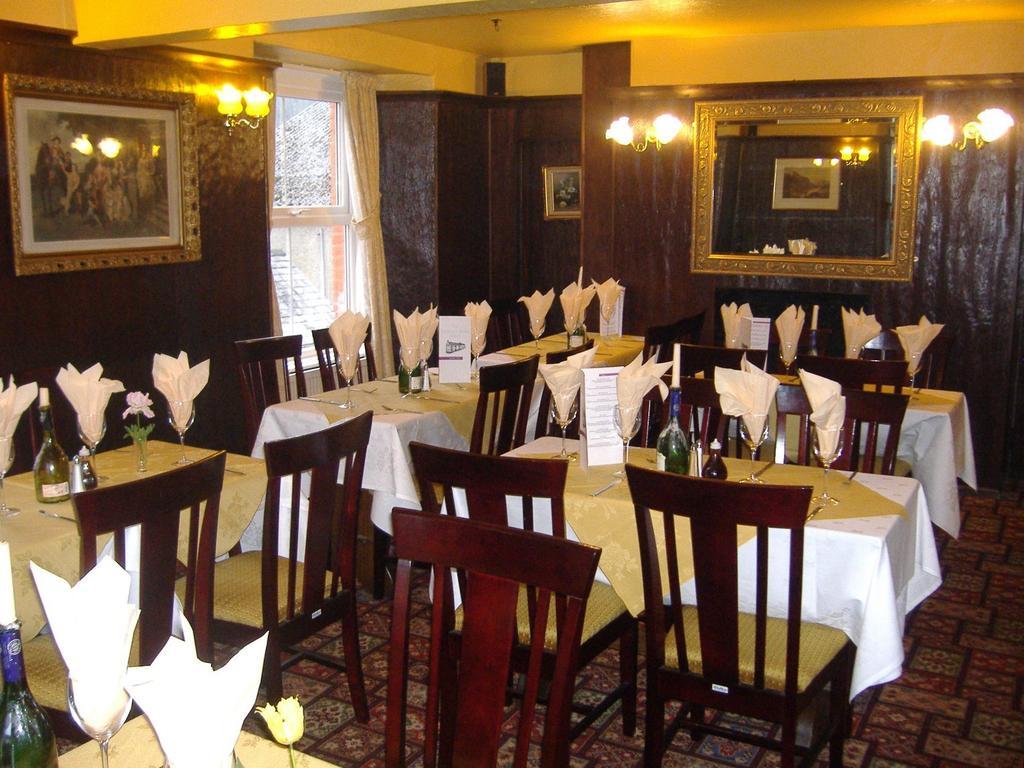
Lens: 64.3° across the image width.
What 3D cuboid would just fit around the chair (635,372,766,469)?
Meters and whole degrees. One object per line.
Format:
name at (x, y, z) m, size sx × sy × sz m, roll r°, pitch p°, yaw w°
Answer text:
chair at (0.774, 0.123, 2.965) m, size 0.235 × 0.322 × 0.208 m, roll 5°, pitch 18°, yaw 16°

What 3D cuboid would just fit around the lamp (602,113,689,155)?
lamp at (1.200, -2.241, 7.280) m, size 0.787 × 0.330 × 0.318 m, roll 4°, pitch 13°, yaw 16°

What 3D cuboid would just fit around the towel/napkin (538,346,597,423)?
towel/napkin at (0.247, 0.012, 3.593) m, size 0.359 × 0.411 × 0.105 m, roll -5°, pitch 24°, yaw -7°

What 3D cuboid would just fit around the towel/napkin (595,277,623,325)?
towel/napkin at (0.786, -0.684, 6.614) m, size 0.199 × 0.344 × 0.293 m, roll 2°, pitch 12°, yaw 9°

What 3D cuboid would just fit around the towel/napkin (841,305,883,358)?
towel/napkin at (2.131, -0.324, 5.080) m, size 0.151 × 0.266 × 0.184 m, roll 0°, pitch 3°, yaw 3°

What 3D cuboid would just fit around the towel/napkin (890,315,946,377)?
towel/napkin at (2.333, -0.184, 4.739) m, size 0.264 × 0.342 × 0.252 m, roll 7°, pitch -1°, yaw 25°

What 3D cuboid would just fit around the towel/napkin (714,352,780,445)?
towel/napkin at (0.862, 0.083, 3.010) m, size 0.265 × 0.300 × 0.206 m, roll -24°, pitch 21°, yaw -34°

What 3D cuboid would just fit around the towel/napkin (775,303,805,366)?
towel/napkin at (1.824, -0.308, 5.346) m, size 0.161 × 0.455 × 0.553 m, roll 4°, pitch 13°, yaw 19°

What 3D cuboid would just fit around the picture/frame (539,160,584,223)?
picture/frame at (0.519, -1.993, 8.326) m, size 0.659 × 0.759 × 0.119 m, roll 1°, pitch 13°, yaw 8°

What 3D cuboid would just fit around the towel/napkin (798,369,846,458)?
towel/napkin at (1.134, 0.163, 2.943) m, size 0.151 × 0.414 × 0.134 m, roll 0°, pitch -2°, yaw 18°

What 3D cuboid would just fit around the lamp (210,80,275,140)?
lamp at (-1.994, -2.077, 6.199) m, size 0.226 × 0.341 × 0.462 m, roll 8°, pitch 14°, yaw 31°

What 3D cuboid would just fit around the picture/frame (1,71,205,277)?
picture/frame at (-2.713, -1.382, 5.321) m, size 0.100 × 1.240 × 1.345 m, roll 6°, pitch 10°, yaw 34°

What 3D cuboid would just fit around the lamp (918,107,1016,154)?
lamp at (3.464, -1.935, 6.195) m, size 0.630 × 0.294 × 0.212 m, roll 6°, pitch 13°, yaw 24°

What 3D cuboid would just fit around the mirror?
mirror at (2.526, -1.656, 6.807) m, size 1.435 × 1.299 × 0.062 m, roll 4°, pitch 7°, yaw 23°

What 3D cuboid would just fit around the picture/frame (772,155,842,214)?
picture/frame at (2.505, -1.684, 6.849) m, size 0.441 × 0.408 × 0.017 m, roll 5°, pitch 10°, yaw 17°
